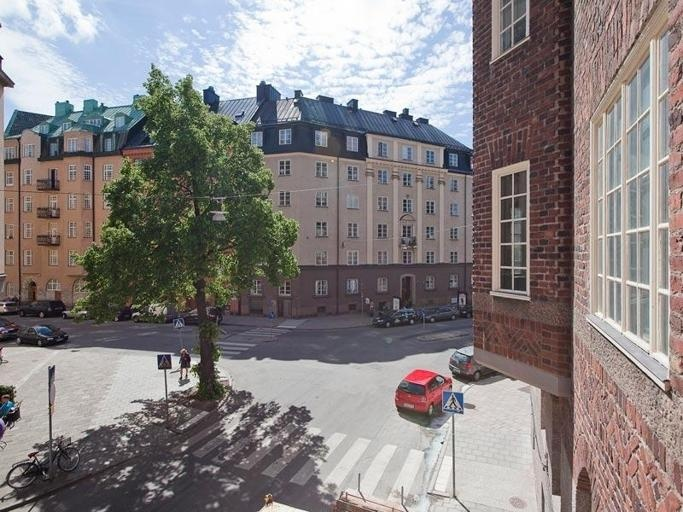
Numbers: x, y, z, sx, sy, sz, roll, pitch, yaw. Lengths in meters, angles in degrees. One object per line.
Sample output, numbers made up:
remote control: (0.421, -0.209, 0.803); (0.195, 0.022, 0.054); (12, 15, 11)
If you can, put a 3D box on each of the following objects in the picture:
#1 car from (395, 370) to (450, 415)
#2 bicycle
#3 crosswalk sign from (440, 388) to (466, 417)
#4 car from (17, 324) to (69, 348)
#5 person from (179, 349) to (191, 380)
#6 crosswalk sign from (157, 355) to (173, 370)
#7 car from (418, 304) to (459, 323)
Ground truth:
car: (2.982, 4.845, 19.671); (1.164, 1.260, 2.398); (1, 8, 33)
bicycle: (-8.252, 5.715, 15.010); (1.715, 1.159, 0.864); (-6, 5, -35)
crosswalk sign: (3.087, 4.052, 15.038); (0.559, 0.692, 0.434); (2, 4, 24)
car: (-17.598, 4.637, 31.556); (2.325, 0.928, 1.270); (-1, -1, 25)
person: (-6.877, 4.637, 23.605); (0.386, 1.235, 1.683); (-1, 4, -17)
crosswalk sign: (-6.212, 3.701, 18.920); (0.415, 0.611, 0.846); (-2, 4, -22)
car: (6.861, 4.185, 39.232); (2.794, 1.038, 1.279); (1, -2, -31)
